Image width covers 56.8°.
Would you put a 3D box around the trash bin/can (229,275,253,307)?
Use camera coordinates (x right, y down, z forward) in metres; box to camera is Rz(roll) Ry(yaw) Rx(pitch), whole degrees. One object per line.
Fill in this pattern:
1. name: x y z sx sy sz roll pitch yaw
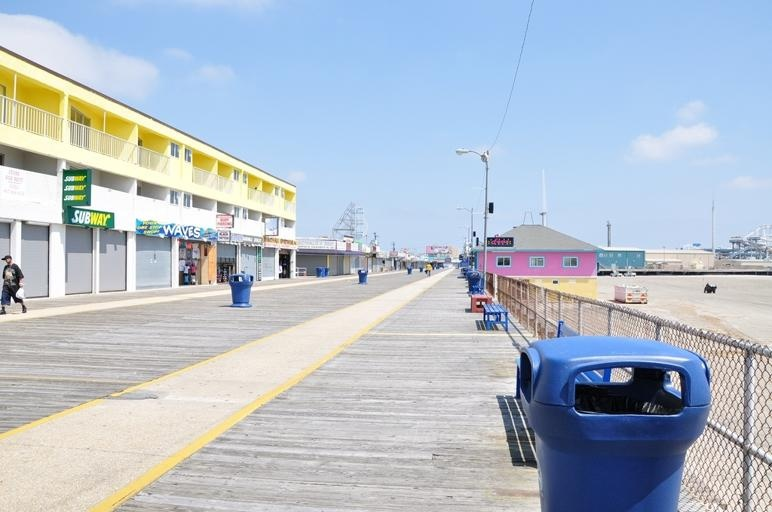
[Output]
1. trash bin/can: -5.680 1.356 27.709 0.787 1.383 1.517 -3 13 -14

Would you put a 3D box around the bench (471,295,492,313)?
1. bench: 3.448 1.767 25.745 0.698 0.424 0.679 -1 0 19

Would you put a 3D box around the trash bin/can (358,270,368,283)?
1. trash bin/can: -1.701 1.554 51.367 0.918 0.950 0.891 0 -4 -4

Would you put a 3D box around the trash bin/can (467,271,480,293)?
1. trash bin/can: 4.492 1.391 36.268 0.970 1.184 0.919 0 -3 5

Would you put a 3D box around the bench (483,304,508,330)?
1. bench: 3.367 1.946 22.051 0.640 0.766 1.588 1 12 5

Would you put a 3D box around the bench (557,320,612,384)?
1. bench: 3.100 1.519 11.026 0.387 0.576 1.023 -2 4 -7
